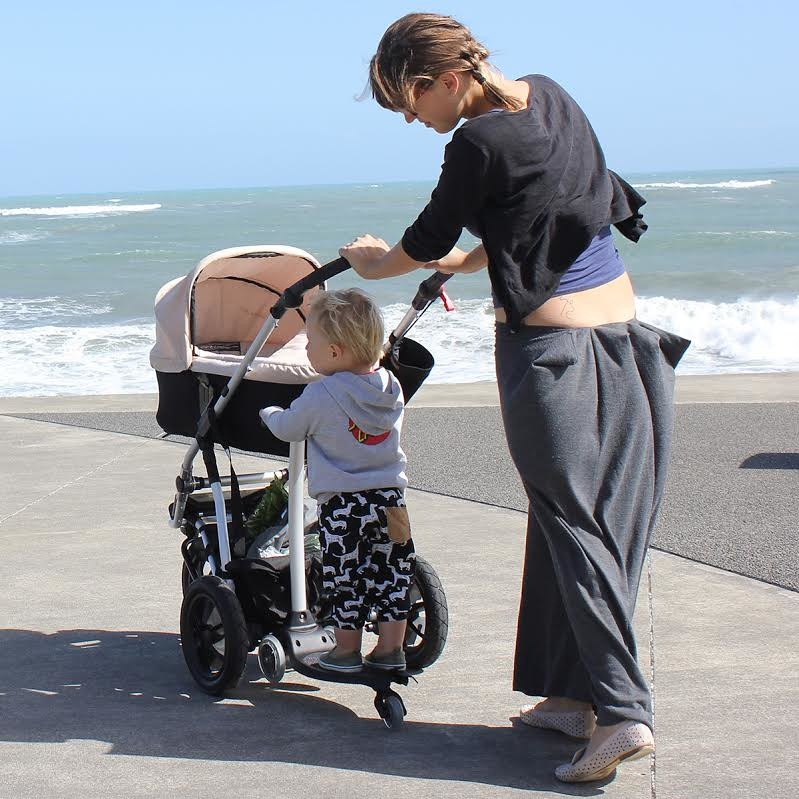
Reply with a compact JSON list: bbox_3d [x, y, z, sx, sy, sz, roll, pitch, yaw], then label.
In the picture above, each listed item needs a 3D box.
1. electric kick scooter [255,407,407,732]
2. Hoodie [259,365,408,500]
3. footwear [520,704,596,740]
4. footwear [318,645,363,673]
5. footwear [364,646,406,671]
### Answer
[{"bbox_3d":[-0.040,0.306,3.234,0.625,0.899,0.595,4,-9,-4],"label":"electric kick scooter"},{"bbox_3d":[-0.164,0.051,3.136,0.552,0.343,0.429,-9,17,-29],"label":"Hoodie"},{"bbox_3d":[0.451,0.903,3.041,0.225,0.060,0.080,2,6,38],"label":"footwear"},{"bbox_3d":[-0.167,0.741,3.049,0.127,0.039,0.059,3,-2,34],"label":"footwear"},{"bbox_3d":[-0.038,0.740,3.060,0.138,0.037,0.055,2,-2,26],"label":"footwear"}]
